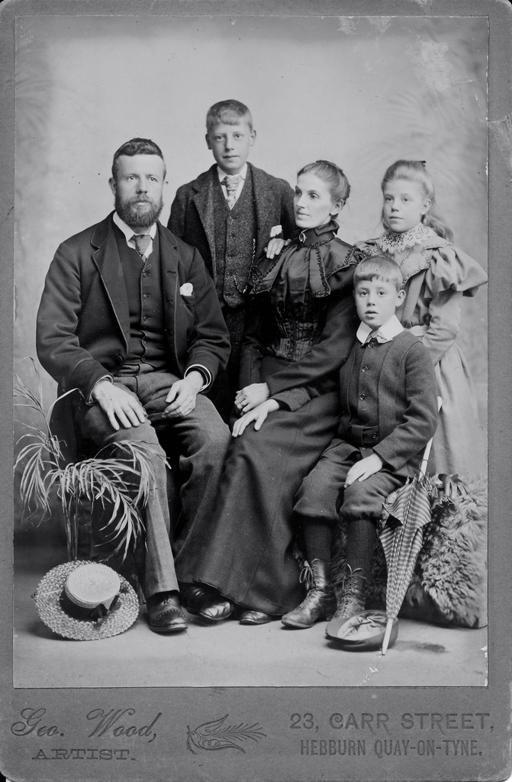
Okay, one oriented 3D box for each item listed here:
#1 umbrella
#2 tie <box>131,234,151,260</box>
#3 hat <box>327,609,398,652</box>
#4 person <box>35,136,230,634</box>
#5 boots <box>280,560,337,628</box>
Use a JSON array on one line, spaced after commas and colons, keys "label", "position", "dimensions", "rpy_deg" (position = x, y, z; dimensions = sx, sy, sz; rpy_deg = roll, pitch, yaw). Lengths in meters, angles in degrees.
[{"label": "umbrella", "position": [0.603, 0.627, 3.893], "dimensions": [0.197, 0.765, 0.150], "rpy_deg": [19, -14, -6]}, {"label": "tie", "position": [-0.516, -0.640, 4.191], "dimensions": [0.076, 0.113, 0.028], "rpy_deg": [-1, 4, -12]}, {"label": "hat", "position": [0.444, 0.980, 3.844], "dimensions": [0.233, 0.088, 0.160], "rpy_deg": [-1, 4, -16]}, {"label": "person", "position": [-0.455, -0.069, 4.139], "dimensions": [0.754, 2.052, 0.651], "rpy_deg": [5, 7, 30]}, {"label": "boots", "position": [0.206, 0.834, 3.886], "dimensions": [0.302, 0.265, 0.123], "rpy_deg": [-4, 3, -43]}]
